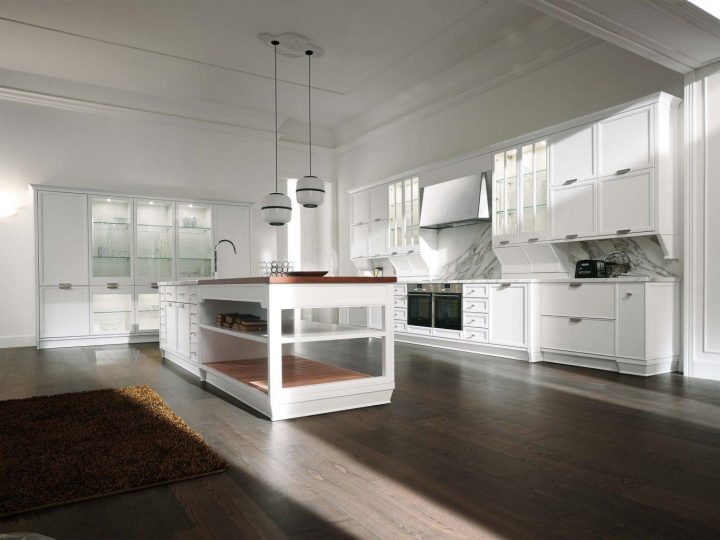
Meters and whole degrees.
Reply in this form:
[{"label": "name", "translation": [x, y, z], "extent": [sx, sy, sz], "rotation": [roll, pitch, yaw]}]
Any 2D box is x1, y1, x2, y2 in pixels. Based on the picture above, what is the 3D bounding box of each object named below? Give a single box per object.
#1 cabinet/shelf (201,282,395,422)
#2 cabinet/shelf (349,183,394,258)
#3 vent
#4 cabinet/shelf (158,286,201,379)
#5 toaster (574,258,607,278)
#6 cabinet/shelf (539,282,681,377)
[{"label": "cabinet/shelf", "translation": [-0.452, 0.675, 4.239], "extent": [1.167, 0.972, 1.975], "rotation": [2, -2, -33]}, {"label": "cabinet/shelf", "translation": [0.221, -0.860, 8.331], "extent": [0.454, 1.334, 1.495], "rotation": [3, -4, -30]}, {"label": "vent", "translation": [1.372, -0.988, 6.782], "extent": [0.278, 0.485, 1.012], "rotation": [-1, 0, -37]}, {"label": "cabinet/shelf", "translation": [-1.997, 0.694, 5.324], "extent": [0.426, 0.771, 1.042], "rotation": [2, -3, -35]}, {"label": "toaster", "translation": [2.500, -0.012, 5.187], "extent": [0.308, 0.204, 0.274], "rotation": [3, 7, 23]}, {"label": "cabinet/shelf", "translation": [2.664, 0.565, 5.342], "extent": [0.941, 1.176, 1.598], "rotation": [5, -5, -34]}]
